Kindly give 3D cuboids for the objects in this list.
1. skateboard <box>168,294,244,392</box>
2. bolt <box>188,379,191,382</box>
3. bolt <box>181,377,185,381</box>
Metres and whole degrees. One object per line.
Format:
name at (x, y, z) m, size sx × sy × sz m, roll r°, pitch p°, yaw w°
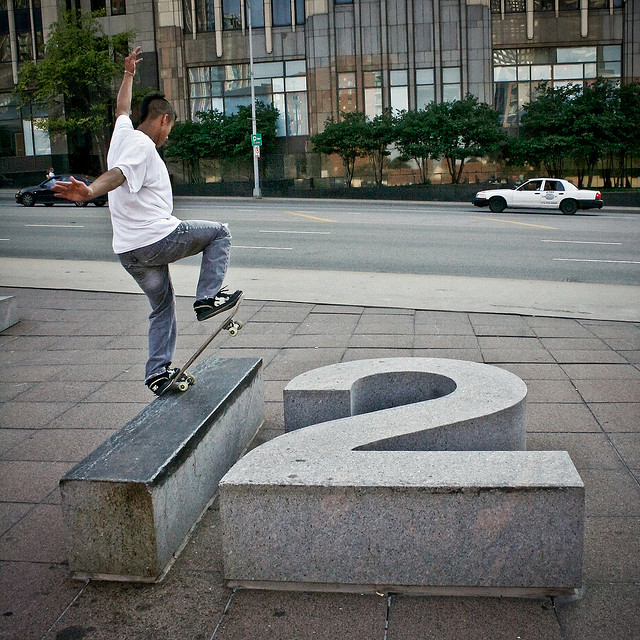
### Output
skateboard at (-0.764, 0.164, 4.739) m, size 0.179 × 0.799 × 0.121 m, roll 23°, pitch 39°, yaw -8°
bolt at (-0.779, 0.364, 4.839) m, size 0.012 × 0.014 × 0.014 m, roll 2°, pitch 11°, yaw 4°
bolt at (-0.815, 0.357, 4.831) m, size 0.019 × 0.010 × 0.026 m, roll -3°, pitch 10°, yaw -11°
